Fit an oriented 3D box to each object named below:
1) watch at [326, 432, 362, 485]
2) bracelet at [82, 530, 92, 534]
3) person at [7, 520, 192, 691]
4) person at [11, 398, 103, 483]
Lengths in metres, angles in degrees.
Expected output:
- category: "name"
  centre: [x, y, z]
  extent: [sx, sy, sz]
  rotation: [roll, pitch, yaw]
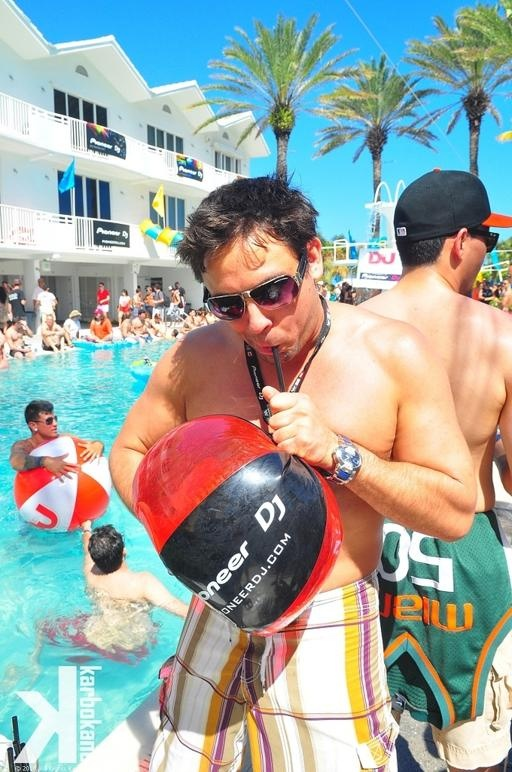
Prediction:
- category: "watch"
  centre: [0.195, 0.165, 1.299]
  extent: [0.063, 0.089, 0.099]
  rotation: [14, 46, 1]
- category: "bracelet"
  centre: [-1.485, 1.283, 5.059]
  extent: [0.050, 0.014, 0.048]
  rotation: [2, 3, 23]
- category: "person"
  centre: [-1.081, 1.503, 4.303]
  extent: [1.510, 1.038, 0.901]
  rotation: [6, 15, 2]
- category: "person"
  centre: [-1.815, 0.466, 5.271]
  extent: [0.789, 0.323, 0.595]
  rotation: [50, 34, 18]
